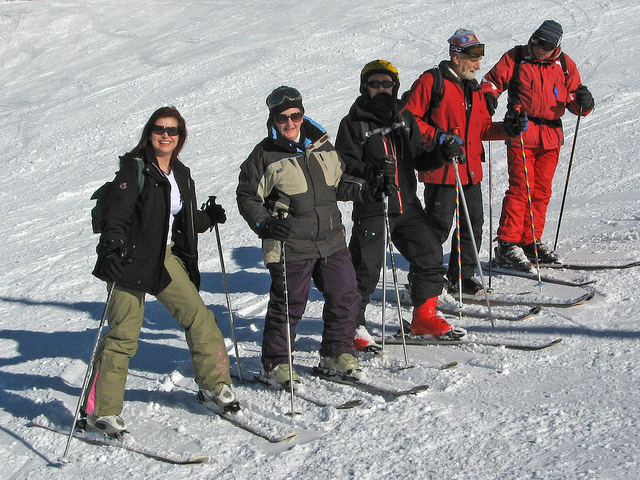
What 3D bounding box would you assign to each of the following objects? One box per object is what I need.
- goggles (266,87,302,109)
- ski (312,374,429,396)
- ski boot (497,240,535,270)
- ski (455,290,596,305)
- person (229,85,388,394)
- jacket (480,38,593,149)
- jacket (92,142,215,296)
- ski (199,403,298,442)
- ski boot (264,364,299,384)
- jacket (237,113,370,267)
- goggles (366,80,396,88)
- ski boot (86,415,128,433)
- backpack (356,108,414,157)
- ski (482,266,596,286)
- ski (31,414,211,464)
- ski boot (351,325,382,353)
[{"bbox_3d":[-0.281,-1.109,5.177,0.264,0.151,0.116,-6,20,0],"label":"goggles"},{"bbox_3d":[0.432,1.153,5.290,0.784,0.060,0.109,6,9,37],"label":"ski"},{"bbox_3d":[2.030,0.120,7.042,0.170,0.203,0.489,-26,31,-26],"label":"ski boot"},{"bbox_3d":[2.003,0.548,6.351,1.115,0.121,0.151,-2,4,19],"label":"ski"},{"bbox_3d":[-0.088,-0.015,5.415,1.034,2.401,0.874,-9,20,-7],"label":"person"},{"bbox_3d":[2.273,-1.532,6.967,1.280,1.121,0.659,0,15,-9],"label":"jacket"},{"bbox_3d":[-1.291,-0.126,5.110,0.396,1.174,0.966,7,24,34],"label":"jacket"},{"bbox_3d":[-0.587,1.366,5.115,1.096,0.053,0.178,9,25,42],"label":"ski"},{"bbox_3d":[-0.320,1.081,5.469,0.303,0.124,0.110,-9,-8,41],"label":"ski boot"},{"bbox_3d":[-0.151,-0.438,5.322,1.021,1.146,0.409,-14,21,-19],"label":"jacket"},{"bbox_3d":[0.510,-1.312,5.572,0.224,0.069,0.040,-4,20,6],"label":"goggles"},{"bbox_3d":[-1.630,1.385,5.079,0.234,0.086,0.141,1,-2,10],"label":"ski boot"},{"bbox_3d":[0.592,-1.017,5.820,0.408,0.517,0.581,-6,5,22],"label":"backpack"},{"bbox_3d":[2.273,0.366,6.757,0.859,0.066,0.092,10,30,37],"label":"ski"},{"bbox_3d":[-1.484,1.517,5.040,1.436,0.112,0.166,9,3,14],"label":"ski"},{"bbox_3d":[0.462,0.887,5.898,0.386,0.169,0.131,6,5,43],"label":"ski boot"}]
